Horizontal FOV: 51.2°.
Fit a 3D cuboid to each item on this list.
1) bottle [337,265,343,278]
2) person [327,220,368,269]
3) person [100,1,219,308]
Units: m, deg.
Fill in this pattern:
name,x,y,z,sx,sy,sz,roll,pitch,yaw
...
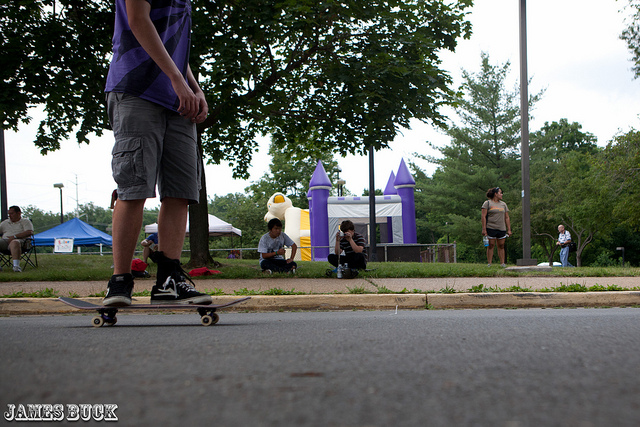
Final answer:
name,x,y,z,sx,sy,sz,roll,pitch,yaw
bottle,0.369,1.086,12.394,0.094,0.221,0.099,-1,-3,0
person,0.556,0.721,12.949,0.772,1.058,0.736,-6,-11,25
person,-1.688,-0.640,6.806,1.001,3.180,0.554,0,-3,-19
